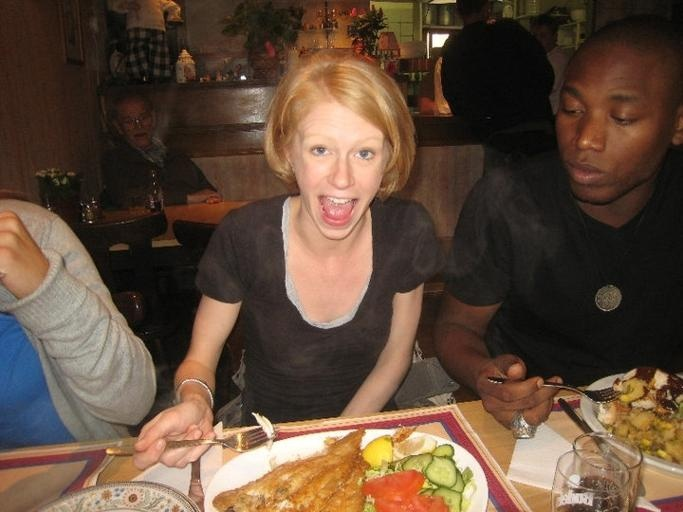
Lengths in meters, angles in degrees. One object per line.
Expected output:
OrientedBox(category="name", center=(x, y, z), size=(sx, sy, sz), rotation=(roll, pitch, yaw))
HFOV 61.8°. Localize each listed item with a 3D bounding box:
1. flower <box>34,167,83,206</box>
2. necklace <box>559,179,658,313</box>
OrientedBox(category="flower", center=(-2.166, -0.520, 4.407), size=(0.383, 0.329, 0.329), rotation=(0, 7, -24))
OrientedBox(category="necklace", center=(1.052, -0.013, 2.303), size=(0.342, 0.497, 0.280), rotation=(5, -8, 9))
